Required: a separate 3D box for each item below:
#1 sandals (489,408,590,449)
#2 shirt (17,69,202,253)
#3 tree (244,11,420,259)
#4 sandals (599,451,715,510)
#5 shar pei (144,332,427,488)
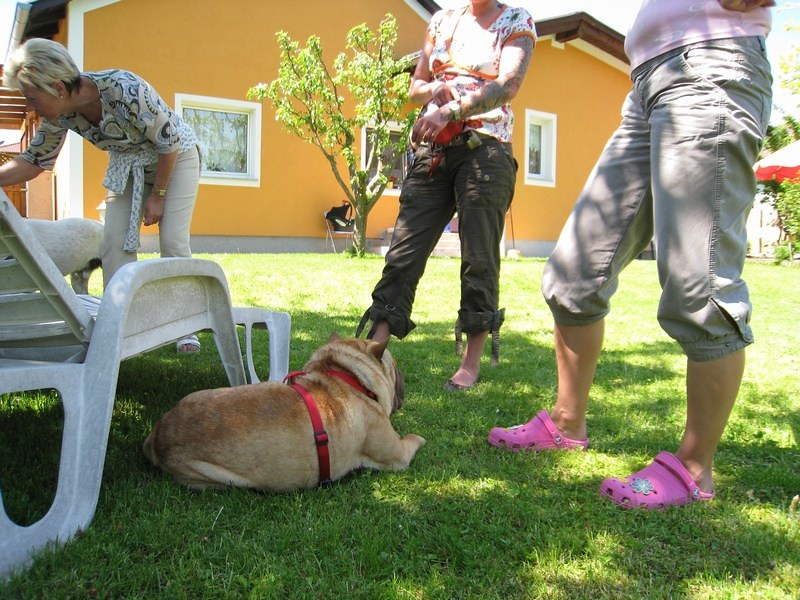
[{"bbox_3d":[0.692,0.615,2.888,0.414,0.195,0.208,5,-6,5],"label":"sandals"},{"bbox_3d":[-1.910,-0.910,3.776,1.152,1.253,0.727,-22,30,-40],"label":"shirt"},{"bbox_3d":[-1.474,-3.509,12.778,2.784,3.988,3.302,11,2,-27],"label":"tree"},{"bbox_3d":[1.064,0.722,2.405,0.370,0.173,0.202,3,-1,-6],"label":"sandals"},{"bbox_3d":[-0.432,0.476,2.728,1.098,0.502,0.582,-5,8,-37],"label":"shar pei"}]
